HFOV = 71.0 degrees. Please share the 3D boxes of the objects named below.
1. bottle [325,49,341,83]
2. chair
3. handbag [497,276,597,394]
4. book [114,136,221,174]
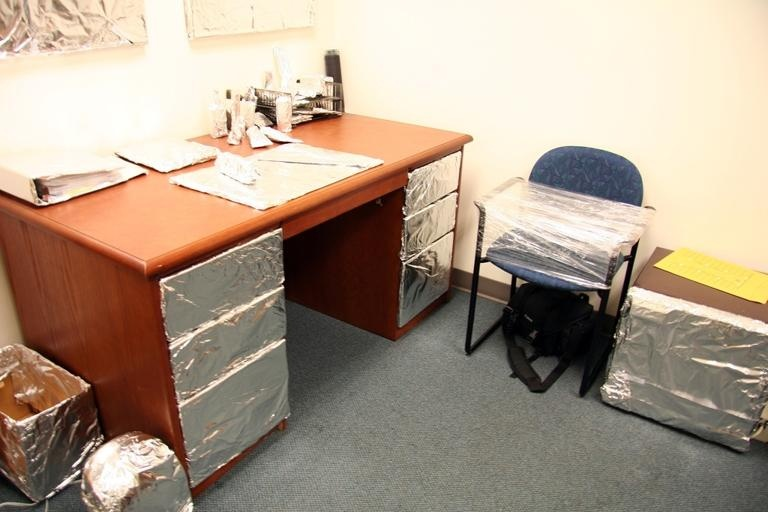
[{"bbox_3d":[-0.278,-1.014,2.864,0.080,0.156,0.092,-4,26,-12],"label":"bottle"},{"bbox_3d":[0.786,0.059,2.491,0.725,0.937,0.710,9,29,14],"label":"chair"},{"bbox_3d":[0.770,0.329,2.581,0.562,0.195,0.437,-19,19,11],"label":"handbag"},{"bbox_3d":[-0.862,-0.396,2.092,0.226,0.033,0.231,19,32,26],"label":"book"}]
